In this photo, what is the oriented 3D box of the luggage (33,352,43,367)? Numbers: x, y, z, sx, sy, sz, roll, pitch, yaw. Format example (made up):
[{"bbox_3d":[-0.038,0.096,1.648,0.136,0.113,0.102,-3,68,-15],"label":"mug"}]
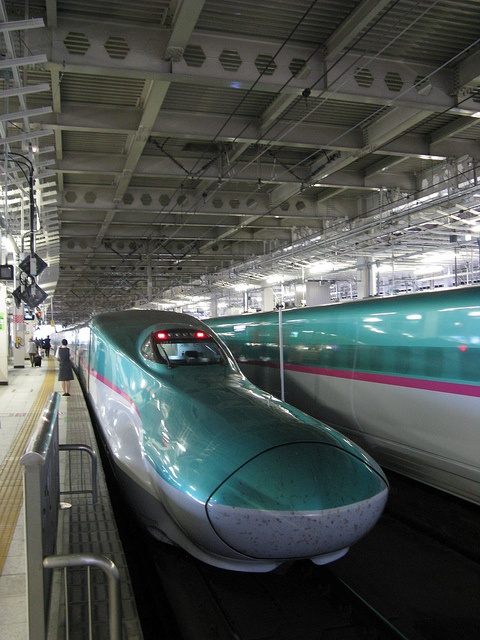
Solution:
[{"bbox_3d":[-12.188,2.397,26.429,0.831,1.056,0.907,0,-3,-27],"label":"luggage"}]
